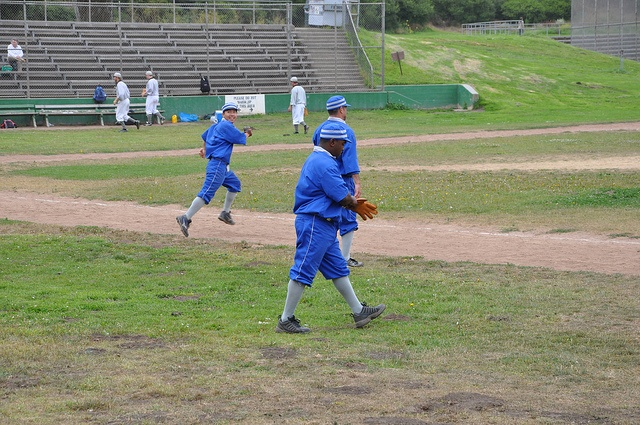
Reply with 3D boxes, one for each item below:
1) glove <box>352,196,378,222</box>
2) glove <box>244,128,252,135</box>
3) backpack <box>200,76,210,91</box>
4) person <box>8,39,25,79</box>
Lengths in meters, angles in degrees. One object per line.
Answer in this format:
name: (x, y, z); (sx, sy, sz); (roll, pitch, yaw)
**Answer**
glove: (1.428, -0.050, 41.454); (0.871, 0.594, 0.240); (17, 10, 10)
glove: (-2.593, -2.832, 44.118); (0.293, 0.284, 0.176); (0, 8, -12)
backpack: (-6.197, -6.708, 66.132); (0.469, 0.837, 0.755); (-2, 8, -8)
person: (-15.193, -7.562, 62.067); (0.843, 1.915, 0.556); (-3, 8, -18)
